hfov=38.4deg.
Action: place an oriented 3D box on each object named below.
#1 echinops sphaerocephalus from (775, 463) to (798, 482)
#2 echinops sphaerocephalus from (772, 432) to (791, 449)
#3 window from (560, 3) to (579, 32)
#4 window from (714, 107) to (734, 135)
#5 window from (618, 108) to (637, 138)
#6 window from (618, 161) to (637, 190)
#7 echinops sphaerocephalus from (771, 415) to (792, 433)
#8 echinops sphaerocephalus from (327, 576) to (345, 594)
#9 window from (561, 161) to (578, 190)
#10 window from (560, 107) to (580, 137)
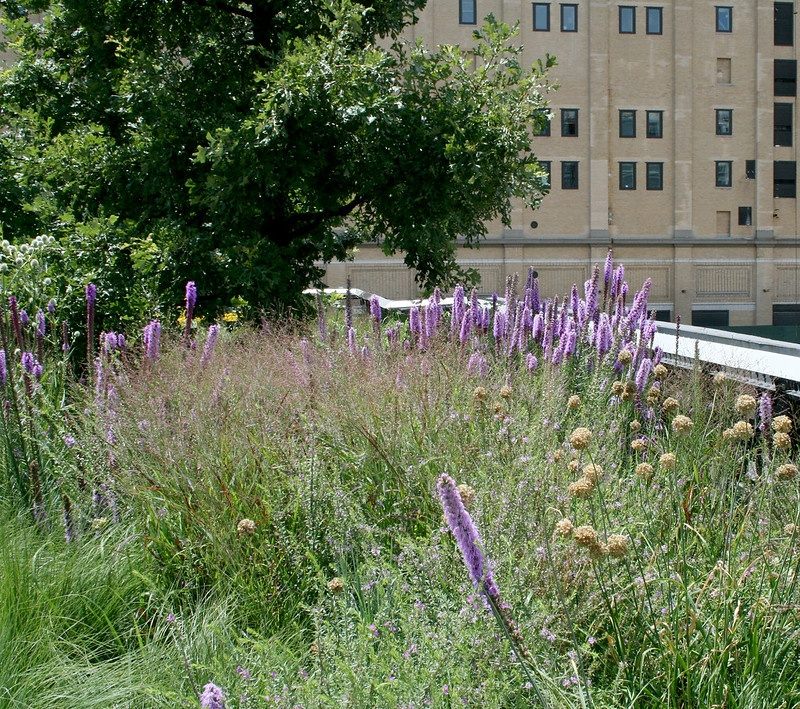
[{"bbox_3d":[1.727,0.522,5.177,0.073,0.057,0.088,-9,-5,5],"label":"echinops sphaerocephalus"},{"bbox_3d":[1.706,0.375,5.163,0.068,0.074,0.068,-3,12,13],"label":"echinops sphaerocephalus"},{"bbox_3d":[4.789,-9.705,32.913,0.690,1.082,0.074,1,-3,-1],"label":"window"},{"bbox_3d":[9.633,-7.037,34.401,0.696,1.095,0.074,1,-3,-2],"label":"window"},{"bbox_3d":[6.624,-6.849,33.700,0.692,1.249,0.099,0,-1,2],"label":"window"},{"bbox_3d":[6.664,-5.290,33.856,0.489,0.811,0.146,0,5,-6],"label":"window"},{"bbox_3d":[1.756,0.301,5.299,0.091,0.105,0.091,-1,-37,24],"label":"echinops sphaerocephalus"},{"bbox_3d":[-0.301,1.056,5.202,0.074,0.081,0.082,2,5,27],"label":"echinops sphaerocephalus"},{"bbox_3d":[4.910,-5.249,33.445,0.510,0.844,0.227,1,5,6],"label":"window"},{"bbox_3d":[4.869,-6.730,33.224,0.542,0.775,0.288,1,5,-4],"label":"window"}]
